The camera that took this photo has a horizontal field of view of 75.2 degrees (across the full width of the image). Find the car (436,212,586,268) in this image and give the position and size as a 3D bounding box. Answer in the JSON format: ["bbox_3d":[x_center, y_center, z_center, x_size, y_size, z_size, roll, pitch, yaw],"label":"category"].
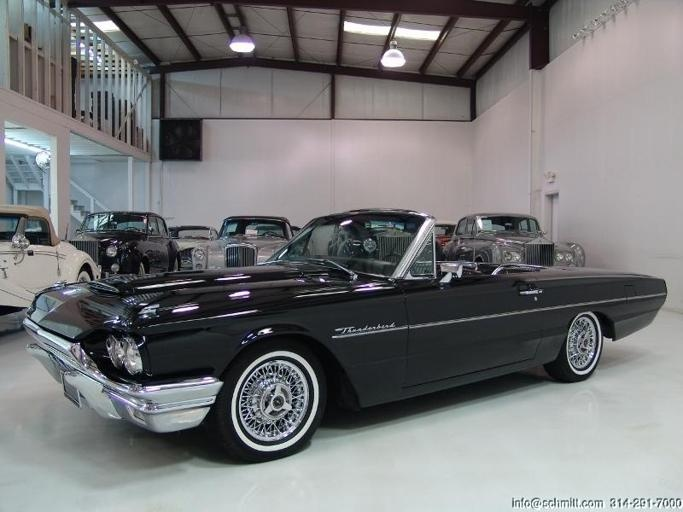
[{"bbox_3d":[2.911,-0.256,8.296,1.444,1.132,2.453,1,-2,-23],"label":"car"}]

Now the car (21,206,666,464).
[{"bbox_3d":[0.112,0.490,3.141,3.485,1.092,1.900,1,-3,-31],"label":"car"}]
